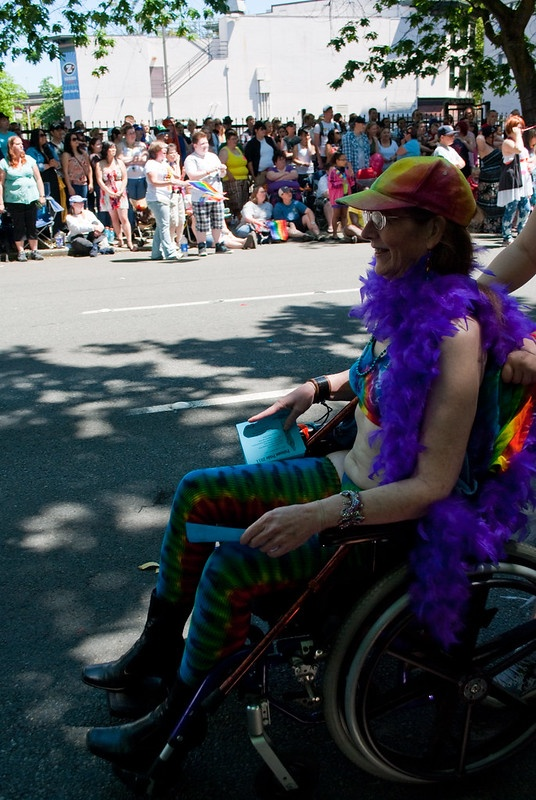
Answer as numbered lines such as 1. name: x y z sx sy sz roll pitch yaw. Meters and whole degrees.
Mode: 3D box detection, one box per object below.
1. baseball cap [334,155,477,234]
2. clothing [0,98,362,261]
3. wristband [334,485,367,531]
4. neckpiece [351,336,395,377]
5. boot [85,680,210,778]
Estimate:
1. baseball cap: 0.305 -0.457 1.513 0.256 0.112 0.149 0 21 -10
2. clothing: -1.016 -3.385 12.357 6.518 1.695 3.141 -3 25 -7
3. wristband: 0.169 0.220 1.399 0.055 0.023 0.074 17 62 18
4. neckpiece: 0.270 -0.107 1.738 0.025 0.094 0.072 39 -10 -36
5. boot: -0.286 0.770 1.613 0.276 0.169 0.100 8 10 -7
